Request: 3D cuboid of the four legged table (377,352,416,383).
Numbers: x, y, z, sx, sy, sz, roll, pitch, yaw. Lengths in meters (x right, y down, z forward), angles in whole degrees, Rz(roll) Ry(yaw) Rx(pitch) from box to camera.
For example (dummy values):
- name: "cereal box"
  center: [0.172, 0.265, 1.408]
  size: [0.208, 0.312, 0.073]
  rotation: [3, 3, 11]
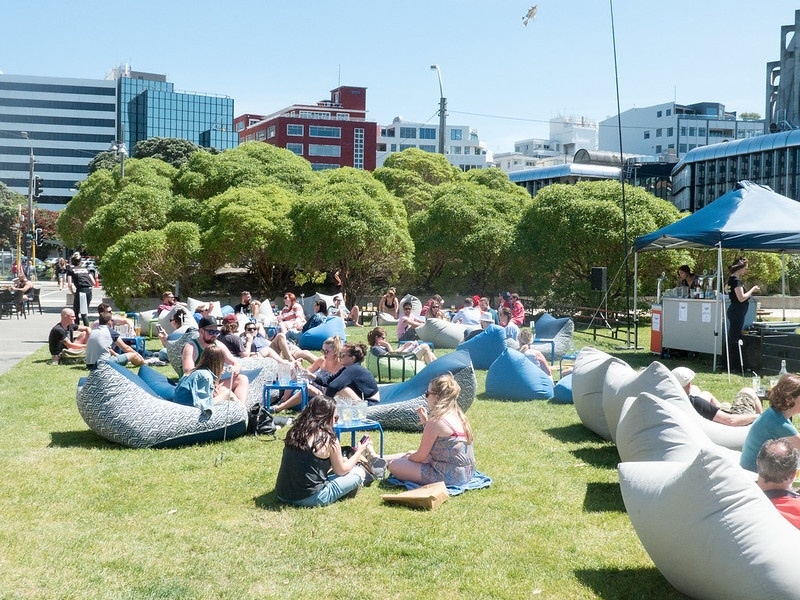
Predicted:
- name: "four legged table"
  center: [-0.080, 1.188, 15.972]
  size: [0.485, 0.569, 0.518]
  rotation: [0, 4, -3]

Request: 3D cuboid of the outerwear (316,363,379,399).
- name: "outerwear"
  center: [-0.715, 1.162, 13.073]
  size: [0.684, 0.535, 0.416]
  rotation: [-1, -8, 1]

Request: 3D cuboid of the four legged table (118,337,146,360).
- name: "four legged table"
  center: [-5.135, 0.975, 18.273]
  size: [0.379, 0.444, 0.416]
  rotation: [0, -3, 0]

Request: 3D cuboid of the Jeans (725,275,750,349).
- name: "Jeans"
  center: [6.130, 0.235, 17.382]
  size: [0.366, 1.271, 0.397]
  rotation: [3, 4, 33]

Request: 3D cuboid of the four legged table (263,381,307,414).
- name: "four legged table"
  center: [-1.646, 1.328, 13.650]
  size: [0.540, 0.590, 0.563]
  rotation: [-1, 3, -25]

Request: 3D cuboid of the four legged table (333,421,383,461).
- name: "four legged table"
  center: [-0.541, 1.845, 12.085]
  size: [0.482, 0.436, 0.512]
  rotation: [-3, 7, -16]

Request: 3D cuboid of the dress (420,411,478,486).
- name: "dress"
  center: [0.562, 1.812, 11.639]
  size: [0.669, 0.988, 0.680]
  rotation: [-3, 7, -36]

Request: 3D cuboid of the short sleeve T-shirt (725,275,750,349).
- name: "short sleeve T-shirt"
  center: [6.125, 0.236, 17.362]
  size: [0.344, 1.271, 0.367]
  rotation: [2, 4, 27]

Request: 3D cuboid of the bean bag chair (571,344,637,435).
- name: "bean bag chair"
  center: [2.787, 1.375, 13.442]
  size: [0.597, 1.193, 1.130]
  rotation: [-6, 4, -3]

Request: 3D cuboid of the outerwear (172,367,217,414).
- name: "outerwear"
  center: [-2.701, 1.254, 12.571]
  size: [0.264, 0.475, 0.473]
  rotation: [2, 8, -44]

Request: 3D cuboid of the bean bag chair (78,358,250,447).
- name: "bean bag chair"
  center: [-3.348, 1.431, 12.687]
  size: [1.502, 0.968, 1.162]
  rotation: [6, -4, -21]

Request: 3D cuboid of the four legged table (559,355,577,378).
- name: "four legged table"
  center: [2.822, 1.169, 16.045]
  size: [0.376, 0.446, 0.288]
  rotation: [-2, 0, -35]

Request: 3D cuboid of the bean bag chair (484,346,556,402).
- name: "bean bag chair"
  center: [1.890, 1.254, 15.091]
  size: [0.836, 0.645, 0.811]
  rotation: [-4, 3, -43]

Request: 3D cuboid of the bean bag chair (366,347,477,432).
- name: "bean bag chair"
  center: [0.331, 1.329, 13.428]
  size: [1.441, 0.962, 0.914]
  rotation: [-5, 8, 20]

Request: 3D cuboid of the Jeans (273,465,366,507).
- name: "Jeans"
  center: [-0.840, 2.172, 11.294]
  size: [0.769, 0.268, 0.816]
  rotation: [16, -6, 17]
